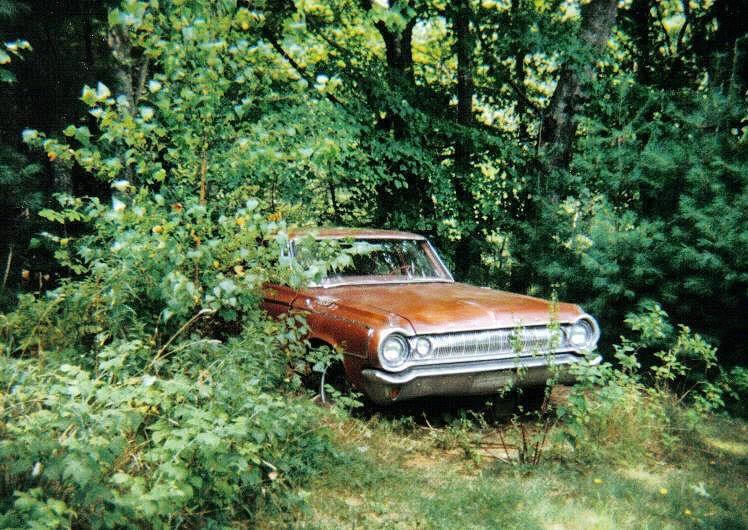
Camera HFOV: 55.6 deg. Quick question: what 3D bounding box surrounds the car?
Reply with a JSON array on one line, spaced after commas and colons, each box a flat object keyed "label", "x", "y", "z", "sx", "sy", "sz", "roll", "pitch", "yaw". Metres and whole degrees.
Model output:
[{"label": "car", "x": 0.595, "y": 0.636, "z": 7.269, "sx": 1.963, "sy": 1.103, "sz": 3.243, "roll": -3, "pitch": 5, "yaw": -30}]
